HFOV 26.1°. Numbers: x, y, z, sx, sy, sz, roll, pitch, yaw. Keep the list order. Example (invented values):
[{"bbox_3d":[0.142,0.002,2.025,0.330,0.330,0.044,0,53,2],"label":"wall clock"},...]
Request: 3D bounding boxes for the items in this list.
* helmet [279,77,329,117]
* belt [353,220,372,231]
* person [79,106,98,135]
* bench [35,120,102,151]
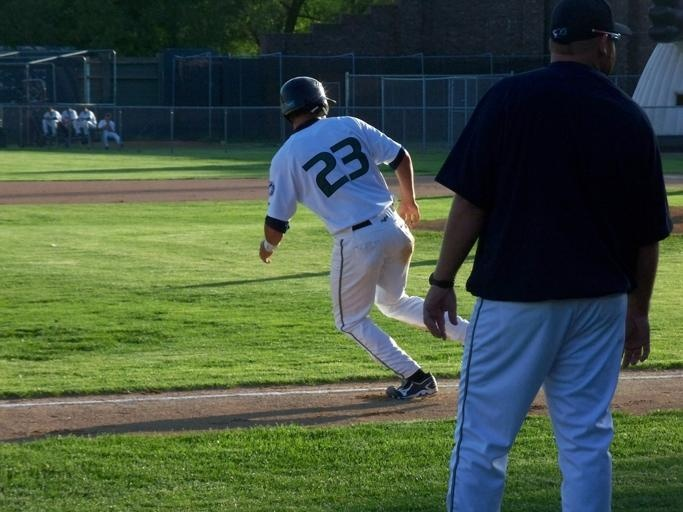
[{"bbox_3d":[-0.471,-2.088,19.579,0.669,0.438,0.455,5,-16,-25],"label":"helmet"},{"bbox_3d":[0.288,-0.407,19.202,0.161,0.059,0.161,-29,-3,21],"label":"belt"},{"bbox_3d":[-7.880,-4.221,45.974,0.585,0.603,0.961,2,1,-10],"label":"person"},{"bbox_3d":[-8.570,-3.810,46.004,1.390,0.845,0.714,-2,11,-17],"label":"bench"}]
